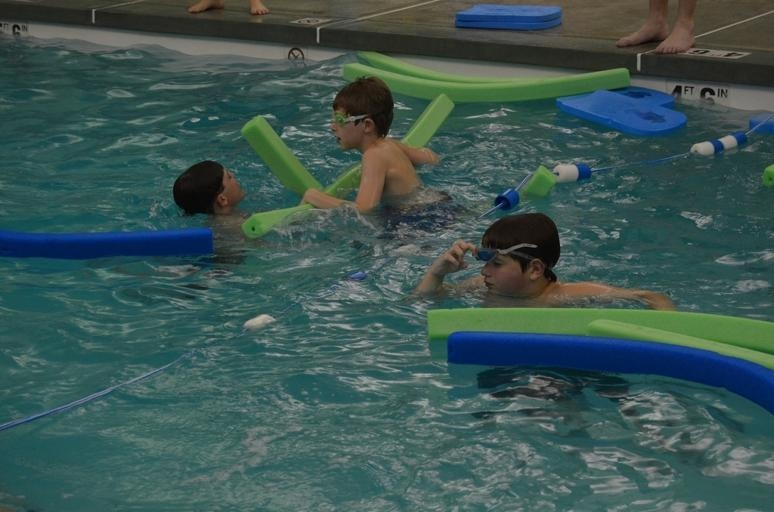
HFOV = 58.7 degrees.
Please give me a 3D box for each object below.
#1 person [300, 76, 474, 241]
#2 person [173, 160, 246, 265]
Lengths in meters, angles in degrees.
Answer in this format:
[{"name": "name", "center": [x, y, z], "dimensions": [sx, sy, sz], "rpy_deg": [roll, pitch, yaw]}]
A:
[{"name": "person", "center": [-0.057, -0.713, 4.649], "dimensions": [0.941, 1.040, 1.066], "rpy_deg": [-6, 16, -34]}, {"name": "person", "center": [-1.119, -0.317, 4.457], "dimensions": [0.435, 0.578, 0.640], "rpy_deg": [-1, 13, -20]}]
